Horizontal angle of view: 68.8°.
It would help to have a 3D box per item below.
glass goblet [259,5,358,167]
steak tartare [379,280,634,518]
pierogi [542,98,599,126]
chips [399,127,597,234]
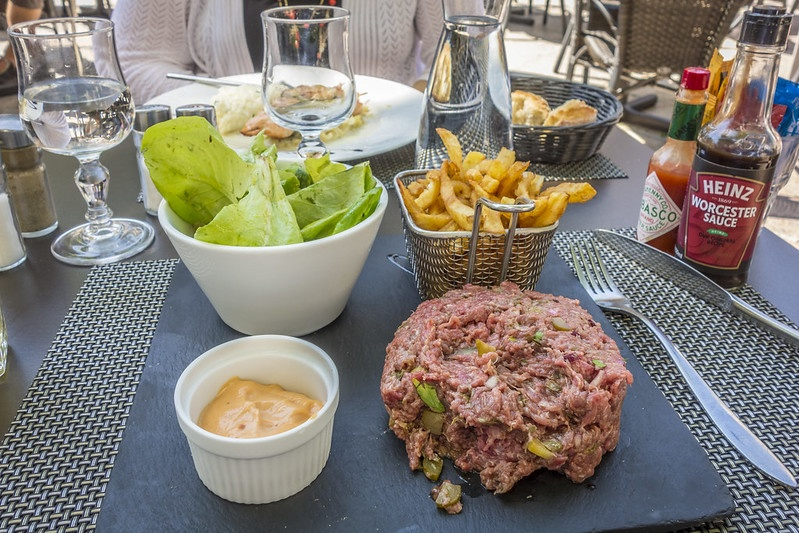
[{"bbox_3d":[-0.210,-0.381,1.475,0.169,0.490,0.162,14,31,34],"label":"glass goblet"},{"bbox_3d":[0.150,0.183,0.936,0.327,0.136,0.312,21,42,31],"label":"steak tartare"},{"bbox_3d":[0.498,-0.439,1.691,0.127,0.048,0.120,1,38,37],"label":"pierogi"},{"bbox_3d":[0.170,-0.169,1.226,0.399,0.247,0.320,-1,29,-3],"label":"chips"}]
